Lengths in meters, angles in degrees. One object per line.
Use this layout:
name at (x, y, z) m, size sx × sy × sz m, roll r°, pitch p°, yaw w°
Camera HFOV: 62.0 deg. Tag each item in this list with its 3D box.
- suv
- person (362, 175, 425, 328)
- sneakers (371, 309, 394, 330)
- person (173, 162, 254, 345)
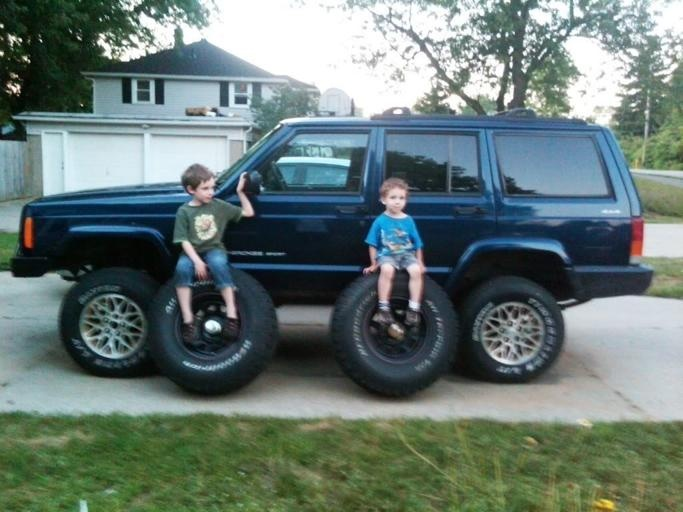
suv at (-0.163, -0.249, 6.450) m, size 5.886 × 2.296 × 2.618 m, roll 2°, pitch 3°, yaw -1°
person at (0.451, -0.019, 5.036) m, size 0.526 × 1.326 × 0.429 m, roll 2°, pitch 9°, yaw 2°
sneakers at (0.349, 0.554, 5.033) m, size 0.193 × 0.222 × 0.228 m, roll 3°, pitch 9°, yaw 11°
person at (-1.158, -0.033, 5.145) m, size 0.702 × 1.573 × 0.791 m, roll 0°, pitch 9°, yaw -6°
